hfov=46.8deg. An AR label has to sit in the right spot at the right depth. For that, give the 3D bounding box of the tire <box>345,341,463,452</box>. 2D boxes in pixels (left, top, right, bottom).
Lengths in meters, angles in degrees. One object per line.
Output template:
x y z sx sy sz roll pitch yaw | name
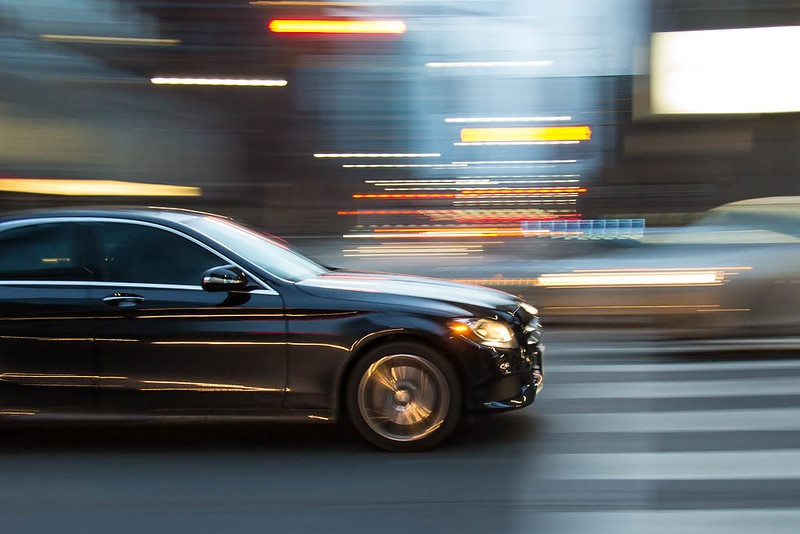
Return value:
0.041 1.131 8.383 1.902 0.999 0.479 -1 1 1 | tire
